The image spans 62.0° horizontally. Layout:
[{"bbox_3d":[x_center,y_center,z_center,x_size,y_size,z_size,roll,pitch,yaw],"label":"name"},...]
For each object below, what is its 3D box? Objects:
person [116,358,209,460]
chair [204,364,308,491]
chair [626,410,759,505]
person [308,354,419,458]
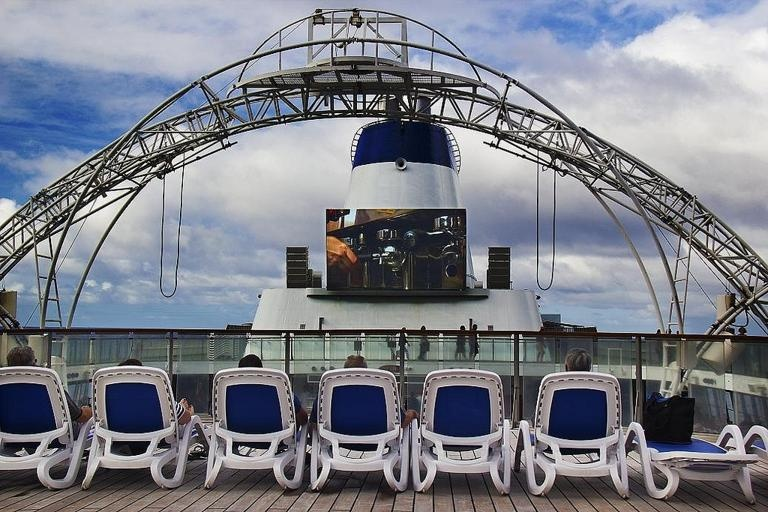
[{"bbox_3d":[-2.727,1.827,8.299,0.976,1.290,0.518,-2,5,0],"label":"person"},{"bbox_3d":[-1.533,2.069,7.731,1.210,1.470,0.583,1,-4,-8],"label":"chair"},{"bbox_3d":[3.681,2.448,7.679,1.383,0.868,0.622,-1,-4,7],"label":"chair"},{"bbox_3d":[-0.202,1.833,8.270,1.133,1.471,1.244,1,0,7],"label":"person"}]
